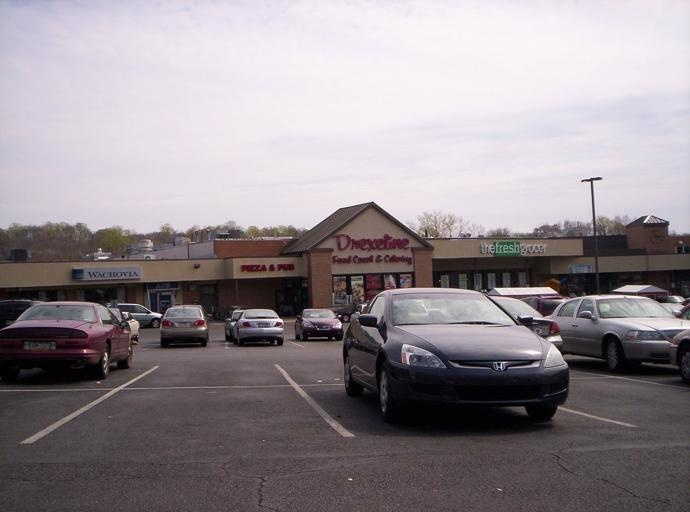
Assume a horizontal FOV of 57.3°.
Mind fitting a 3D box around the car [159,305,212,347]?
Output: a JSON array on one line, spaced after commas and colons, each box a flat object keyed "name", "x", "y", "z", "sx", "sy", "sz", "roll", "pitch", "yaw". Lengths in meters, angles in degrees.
[{"name": "car", "x": -7.053, "y": 3.070, "z": 27.581, "sx": 1.936, "sy": 1.745, "sz": 1.557, "roll": -2, "pitch": -1, "yaw": -18}]

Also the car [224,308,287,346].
[{"name": "car", "x": -3.741, "y": 3.161, "z": 27.749, "sx": 2.006, "sy": 1.507, "sz": 1.366, "roll": -2, "pitch": -1, "yaw": 1}]

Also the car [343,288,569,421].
[{"name": "car", "x": 1.494, "y": 1.539, "z": 10.004, "sx": 2.274, "sy": 1.966, "sz": 3.469, "roll": -2, "pitch": -1, "yaw": -30}]
